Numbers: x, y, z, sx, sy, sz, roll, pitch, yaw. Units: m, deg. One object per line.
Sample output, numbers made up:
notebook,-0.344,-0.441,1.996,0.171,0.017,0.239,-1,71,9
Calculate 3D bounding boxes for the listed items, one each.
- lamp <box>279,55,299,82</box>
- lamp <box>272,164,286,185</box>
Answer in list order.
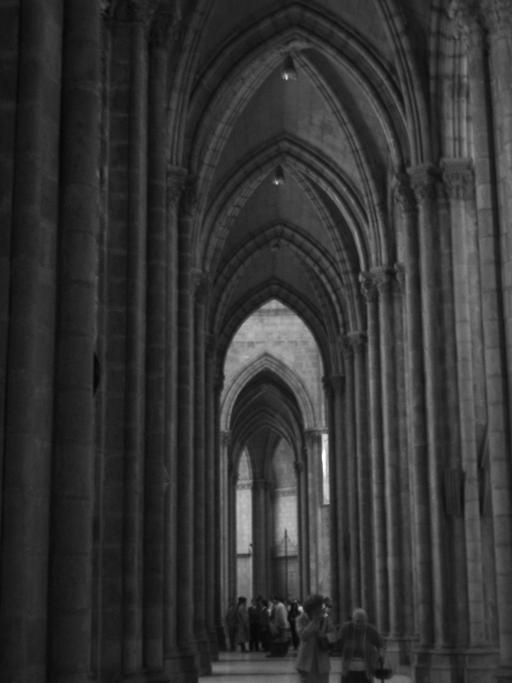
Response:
lamp,0.738,-5.992,23.081,0.286,0.715,0.267,-3,3,-20
lamp,0.620,-4.398,27.853,0.269,0.454,0.712,-1,11,3
